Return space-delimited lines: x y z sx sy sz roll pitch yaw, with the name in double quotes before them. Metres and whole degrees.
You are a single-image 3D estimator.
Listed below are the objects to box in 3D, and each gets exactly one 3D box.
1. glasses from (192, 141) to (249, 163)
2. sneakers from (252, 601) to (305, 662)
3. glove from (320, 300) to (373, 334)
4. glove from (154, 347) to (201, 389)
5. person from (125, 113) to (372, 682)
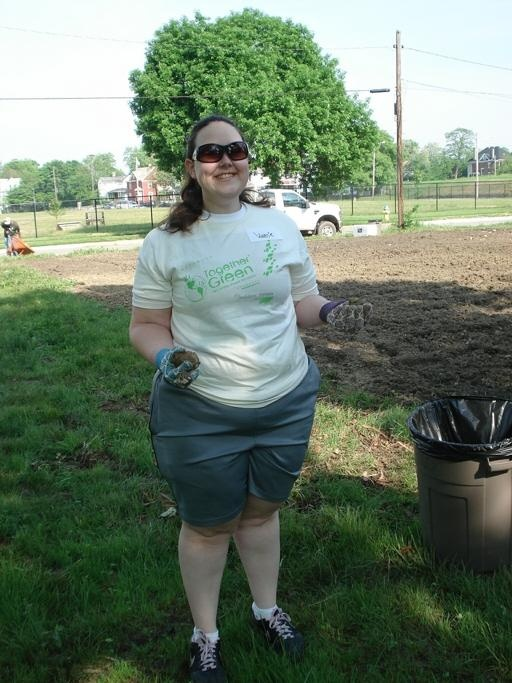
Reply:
"glasses" -0.108 -0.632 2.026 0.206 0.080 0.140 -6 9 -15
"sneakers" 0.074 1.062 2.194 0.089 0.079 0.218 -9 6 -29
"glove" 0.316 -0.086 2.129 0.082 0.102 0.227 -2 15 -10
"glove" -0.247 0.067 1.846 0.115 0.065 0.142 -14 48 -45
"person" -0.034 0.184 2.096 0.700 1.917 0.409 -10 11 -26
